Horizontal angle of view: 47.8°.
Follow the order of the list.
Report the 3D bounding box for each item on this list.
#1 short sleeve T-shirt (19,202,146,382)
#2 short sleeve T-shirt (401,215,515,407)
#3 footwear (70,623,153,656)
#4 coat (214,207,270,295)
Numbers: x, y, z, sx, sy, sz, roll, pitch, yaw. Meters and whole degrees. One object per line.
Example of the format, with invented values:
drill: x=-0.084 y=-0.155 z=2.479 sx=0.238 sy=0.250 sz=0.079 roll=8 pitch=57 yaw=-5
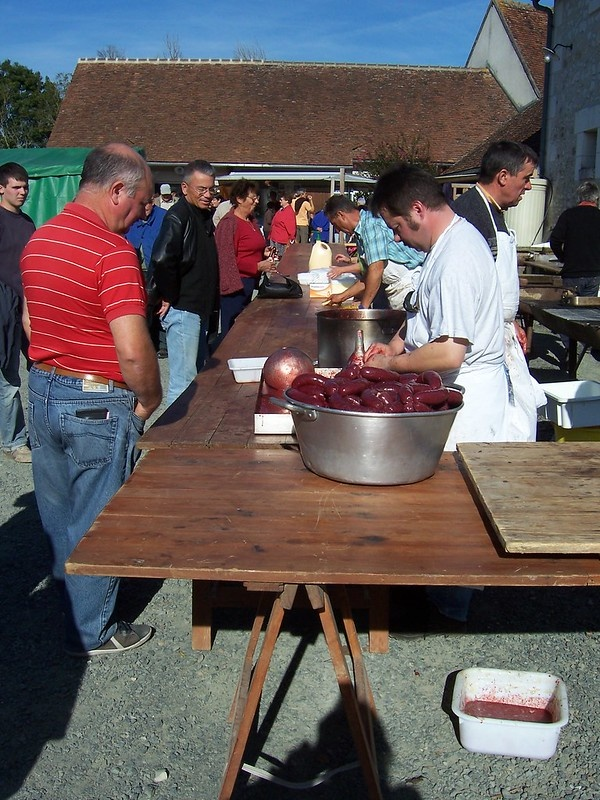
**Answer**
short sleeve T-shirt: x=-0.730 y=-0.379 z=2.332 sx=0.353 sy=0.531 sz=0.638 roll=-4 pitch=15 yaw=-44
short sleeve T-shirt: x=0.542 y=-0.291 z=2.358 sx=0.396 sy=0.680 sz=0.528 roll=4 pitch=15 yaw=15
footwear: x=-0.746 y=0.942 z=2.683 sx=0.293 sy=0.111 sz=0.111 roll=0 pitch=6 yaw=-23
coat: x=-0.599 y=-1.523 z=6.645 sx=0.497 sy=0.783 sz=0.945 roll=4 pitch=22 yaw=14
